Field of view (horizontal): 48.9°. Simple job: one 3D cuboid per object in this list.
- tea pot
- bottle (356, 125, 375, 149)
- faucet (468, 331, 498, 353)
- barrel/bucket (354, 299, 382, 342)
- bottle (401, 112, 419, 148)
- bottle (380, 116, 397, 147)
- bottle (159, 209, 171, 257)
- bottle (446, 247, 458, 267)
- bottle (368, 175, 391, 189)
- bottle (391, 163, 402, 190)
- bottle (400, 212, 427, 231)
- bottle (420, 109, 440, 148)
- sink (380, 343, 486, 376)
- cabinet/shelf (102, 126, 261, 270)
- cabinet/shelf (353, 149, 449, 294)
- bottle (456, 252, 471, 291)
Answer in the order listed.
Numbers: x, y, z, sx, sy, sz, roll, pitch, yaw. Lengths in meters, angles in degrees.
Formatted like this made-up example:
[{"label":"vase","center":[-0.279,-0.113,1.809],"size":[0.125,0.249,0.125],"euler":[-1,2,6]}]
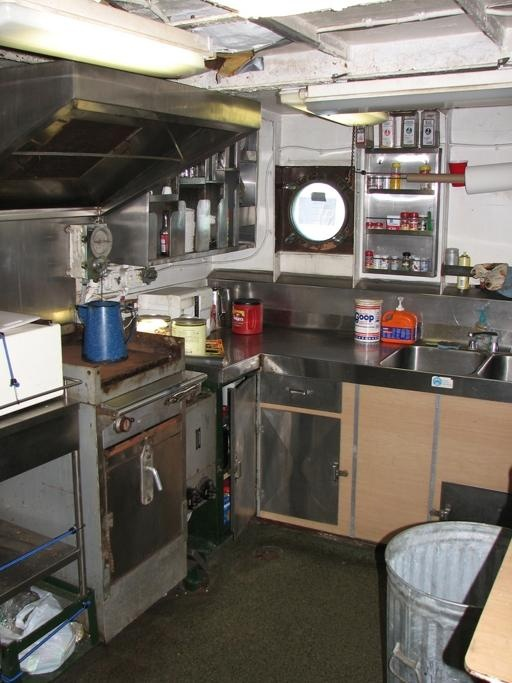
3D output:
[{"label":"tea pot","center":[-0.558,-0.042,2.271],"size":[0.283,0.251,0.213],"euler":[2,12,-7]},{"label":"bottle","center":[0.631,-1.175,3.259],"size":[0.096,0.139,0.203],"euler":[5,11,16]},{"label":"faucet","center":[1.191,-0.003,2.949],"size":[0.146,0.106,0.170],"euler":[6,12,23]},{"label":"barrel/bucket","center":[0.623,-0.109,3.146],"size":[0.136,0.233,0.119],"euler":[3,11,9]},{"label":"bottle","center":[0.857,-1.161,3.137],"size":[0.093,0.183,0.033],"euler":[4,11,14]},{"label":"bottle","center":[0.746,-1.178,3.206],"size":[0.101,0.176,0.101],"euler":[2,11,0]},{"label":"bottle","center":[-0.440,-0.514,2.723],"size":[0.026,0.199,0.069],"euler":[-5,13,-32]},{"label":"bottle","center":[1.113,-0.474,3.204],"size":[0.077,0.101,0.057],"euler":[4,11,11]},{"label":"bottle","center":[0.715,-0.928,3.289],"size":[0.136,0.067,0.060],"euler":[5,11,15]},{"label":"bottle","center":[0.798,-0.941,3.223],"size":[0.055,0.155,0.117],"euler":[4,11,11]},{"label":"bottle","center":[0.901,-0.681,3.226],"size":[0.151,0.108,0.117],"euler":[0,11,-7]},{"label":"bottle","center":[0.949,-1.154,3.082],"size":[0.101,0.188,0.054],"euler":[4,11,14]},{"label":"sink","center":[0.917,0.123,2.882],"size":[0.464,0.140,0.407],"euler":[6,12,22]},{"label":"cabinet/shelf","center":[-0.363,-0.689,2.679],"size":[0.252,0.716,0.853],"euler":[4,13,21]},{"label":"cabinet/shelf","center":[0.843,-0.727,3.286],"size":[0.459,0.712,0.166],"euler":[8,18,30]},{"label":"bottle","center":[1.185,-0.393,3.207],"size":[0.073,0.206,0.102],"euler":[6,12,21]}]
